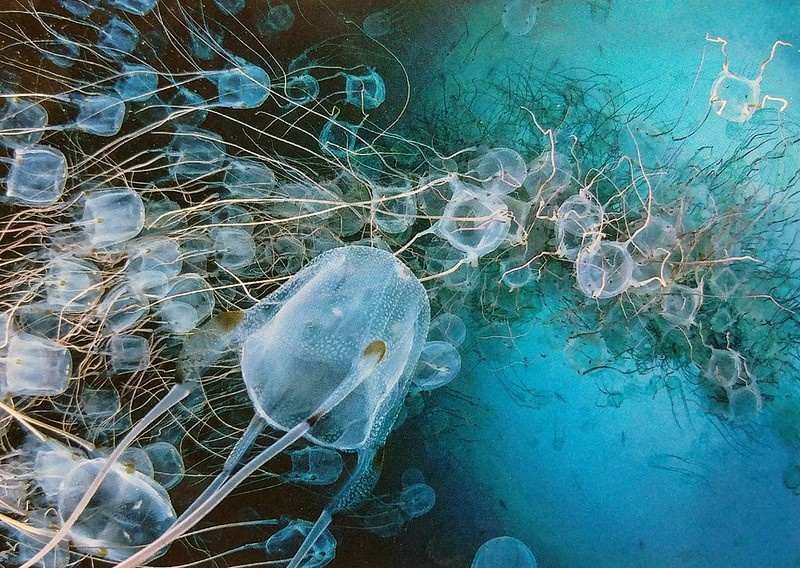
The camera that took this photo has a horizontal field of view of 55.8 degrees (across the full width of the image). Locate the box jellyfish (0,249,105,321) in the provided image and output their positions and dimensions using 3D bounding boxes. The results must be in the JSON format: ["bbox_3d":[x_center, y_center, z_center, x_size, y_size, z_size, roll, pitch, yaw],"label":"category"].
[{"bbox_3d":[-3.154,0.000,6.972,0.656,0.589,0.352,0,1,-15],"label":"box jellyfish"}]
